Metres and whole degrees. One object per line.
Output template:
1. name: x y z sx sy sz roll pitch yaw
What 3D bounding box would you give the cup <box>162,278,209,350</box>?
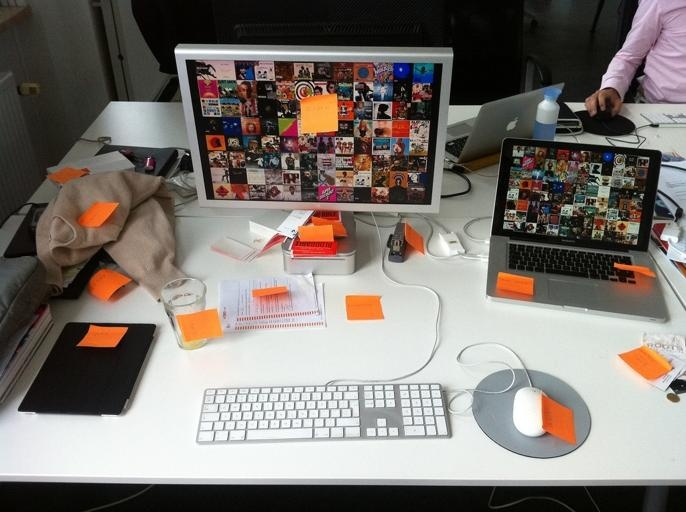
1. cup: -0.427 0.164 1.365 0.116 0.168 0.124 2 40 -2

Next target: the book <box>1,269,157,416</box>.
1. book: -0.635 0.280 1.291 0.258 0.031 0.269 -1 44 4

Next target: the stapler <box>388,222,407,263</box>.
1. stapler: 0.172 -0.044 1.615 0.042 0.052 0.142 1 38 7

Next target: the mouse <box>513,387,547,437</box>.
1. mouse: 0.436 0.362 1.178 0.075 0.060 0.101 5 45 10

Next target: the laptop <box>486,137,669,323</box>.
1. laptop: 0.706 -0.017 1.655 0.598 0.422 0.523 7 48 7
